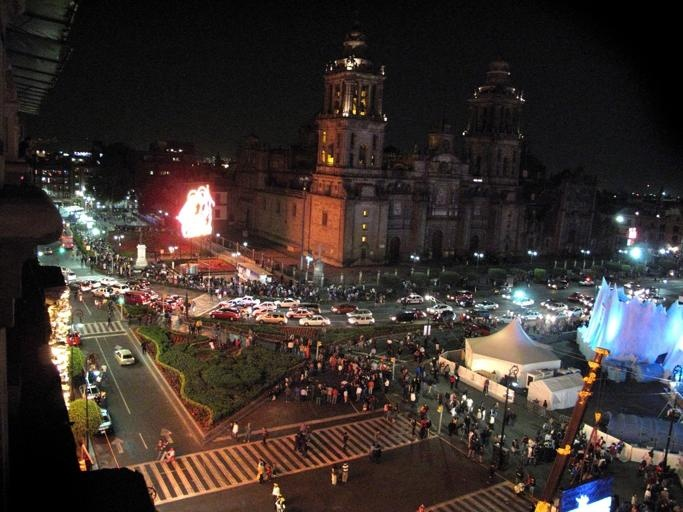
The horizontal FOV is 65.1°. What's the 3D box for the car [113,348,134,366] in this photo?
[{"bbox_3d":[-16.478,7.534,40.404,0.860,0.669,1.942,-3,21,-34],"label":"car"}]
